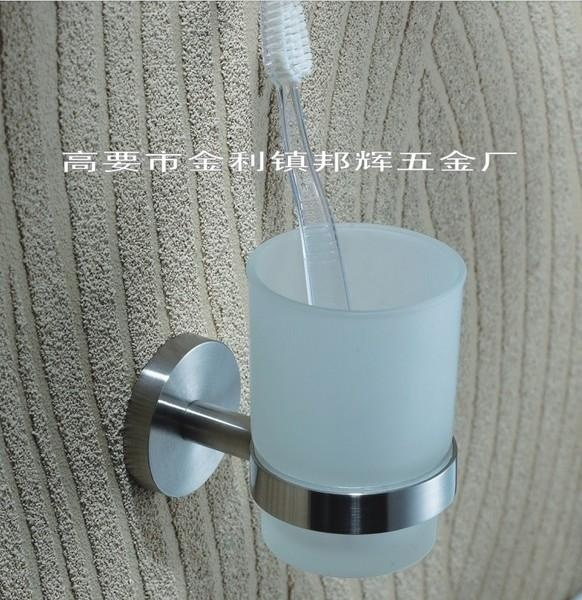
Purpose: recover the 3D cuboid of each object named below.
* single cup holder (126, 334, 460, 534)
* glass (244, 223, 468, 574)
[{"bbox_3d":[0.005,0.068,0.419,0.142,0.074,0.084,13,24,29],"label":"single cup holder"},{"bbox_3d":[0.025,0.041,0.371,0.083,0.123,0.082,19,30,37],"label":"glass"}]
